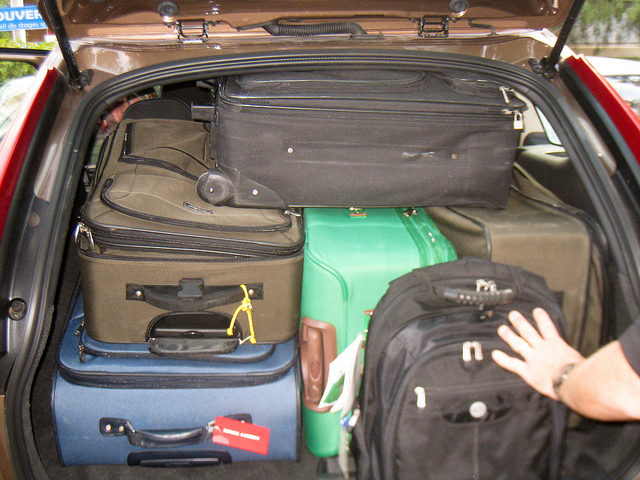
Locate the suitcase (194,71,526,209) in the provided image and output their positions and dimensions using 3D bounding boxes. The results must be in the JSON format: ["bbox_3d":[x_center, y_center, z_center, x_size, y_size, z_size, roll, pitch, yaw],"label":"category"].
[{"bbox_3d":[0.121,-0.286,1.608,0.767,0.263,0.448,-1,29,-4],"label":"suitcase"}]

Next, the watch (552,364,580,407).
[{"bbox_3d":[0.570,0.337,1.299,0.024,0.067,0.086,24,45,-40],"label":"watch"}]

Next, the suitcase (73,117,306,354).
[{"bbox_3d":[-0.381,0.023,1.880,0.640,0.305,0.856,0,20,-8],"label":"suitcase"}]

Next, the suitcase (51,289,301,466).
[{"bbox_3d":[-0.384,0.431,1.881,0.803,0.367,0.737,-6,24,-1],"label":"suitcase"}]
